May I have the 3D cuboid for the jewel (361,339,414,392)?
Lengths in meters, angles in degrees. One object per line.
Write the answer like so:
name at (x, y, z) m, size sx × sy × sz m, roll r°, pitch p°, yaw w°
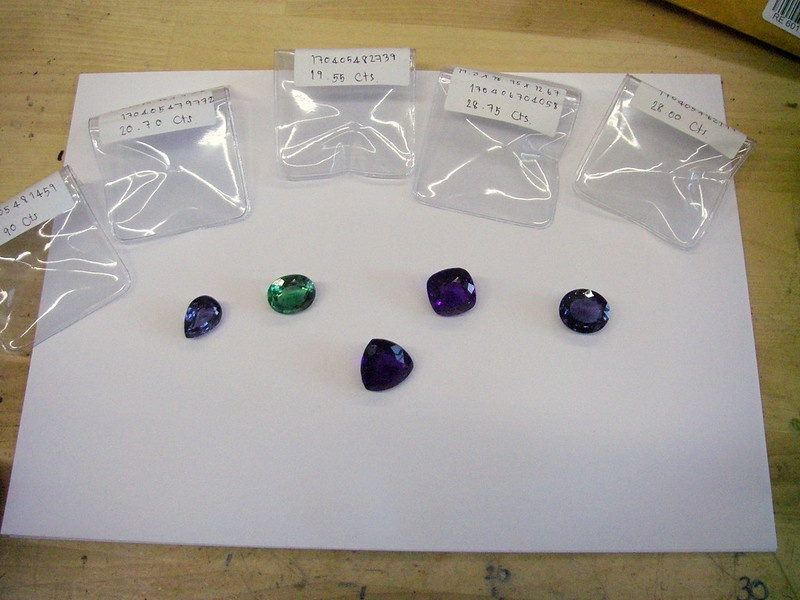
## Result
jewel at (-0.028, 0.131, 1.299) m, size 0.097 × 0.051 × 0.091 m, roll 25°, pitch 66°, yaw 6°

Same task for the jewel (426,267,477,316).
jewel at (0.099, -0.018, 1.317) m, size 0.082 × 0.039 × 0.078 m, roll -13°, pitch 68°, yaw -11°

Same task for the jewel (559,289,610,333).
jewel at (0.356, 0.021, 1.321) m, size 0.091 × 0.040 × 0.077 m, roll -1°, pitch 66°, yaw -6°

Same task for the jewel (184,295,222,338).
jewel at (-0.387, 0.032, 1.325) m, size 0.063 × 0.028 × 0.081 m, roll 36°, pitch 87°, yaw 1°
